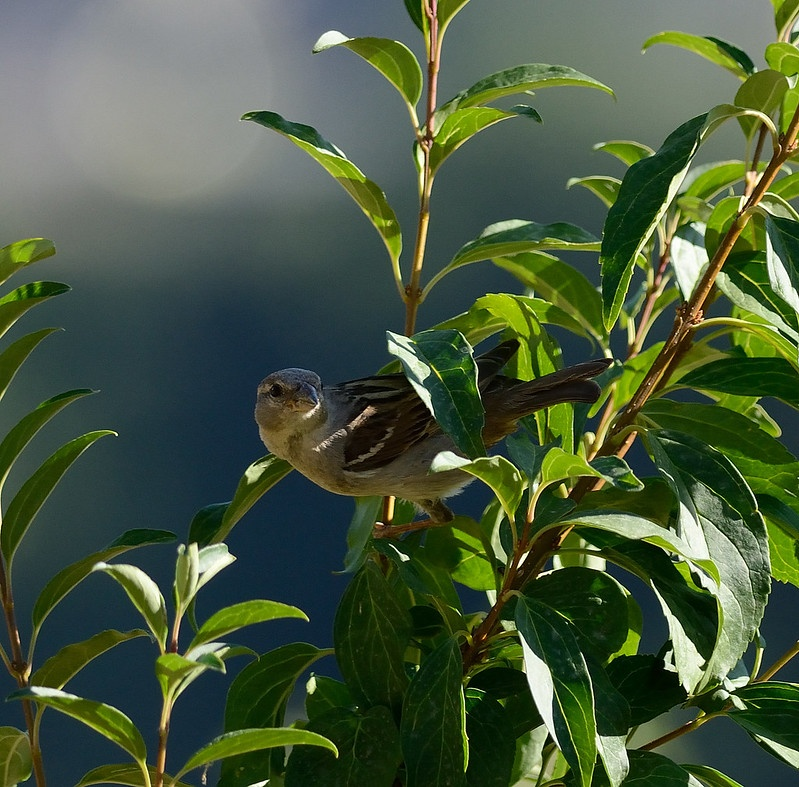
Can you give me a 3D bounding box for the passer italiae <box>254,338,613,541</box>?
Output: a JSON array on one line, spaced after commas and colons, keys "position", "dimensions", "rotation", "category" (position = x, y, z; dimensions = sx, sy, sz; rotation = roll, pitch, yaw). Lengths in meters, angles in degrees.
[{"position": [0.057, 0.035, 2.072], "dimensions": [0.619, 0.284, 0.202], "rotation": [-21, 8, 22], "category": "passer italiae"}]
